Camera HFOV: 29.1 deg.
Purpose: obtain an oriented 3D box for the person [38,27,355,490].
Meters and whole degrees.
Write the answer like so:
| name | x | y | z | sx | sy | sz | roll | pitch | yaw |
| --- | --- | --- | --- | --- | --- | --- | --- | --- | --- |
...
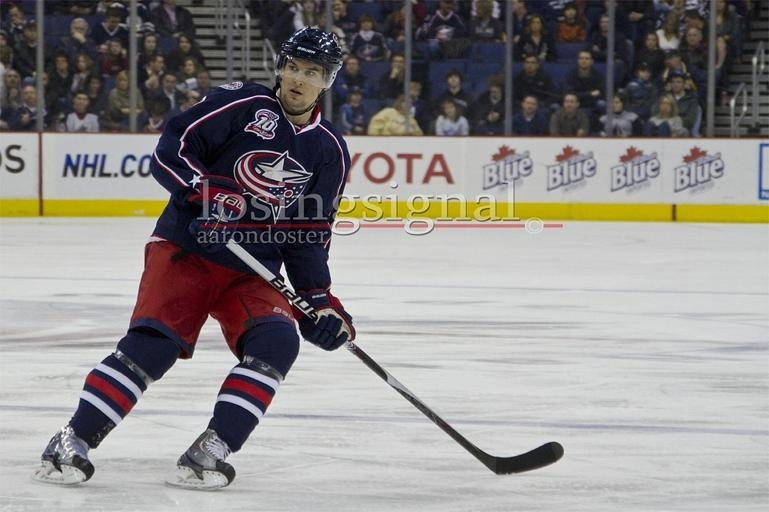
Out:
| name | x | y | z | sx | sy | sz | roll | pitch | yaw |
| --- | --- | --- | --- | --- | --- | --- | --- | --- | --- |
| person | -0.990 | 0.011 | 8.732 | 1.645 | 2.652 | 0.747 | -1 | 12 | -12 |

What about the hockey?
| name | x | y | z | sx | sy | sz | roll | pitch | yaw |
| --- | --- | --- | --- | --- | --- | --- | --- | --- | --- |
| hockey | 0.396 | 0.802 | 8.032 | 0.311 | 0.320 | 2.454 | 20 | -11 | 31 |

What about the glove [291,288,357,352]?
| name | x | y | z | sx | sy | sz | roll | pitch | yaw |
| --- | --- | --- | --- | --- | --- | --- | --- | --- | --- |
| glove | -0.364 | 0.383 | 8.965 | 0.321 | 0.384 | 0.171 | -6 | -32 | -27 |

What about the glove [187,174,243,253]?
| name | x | y | z | sx | sy | sz | roll | pitch | yaw |
| --- | --- | --- | --- | --- | --- | --- | --- | --- | --- |
| glove | -0.988 | -0.228 | 8.802 | 0.385 | 0.428 | 0.196 | 17 | -4 | 13 |

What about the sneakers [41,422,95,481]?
| name | x | y | z | sx | sy | sz | roll | pitch | yaw |
| --- | --- | --- | --- | --- | --- | --- | --- | --- | --- |
| sneakers | -1.898 | 1.191 | 8.704 | 0.185 | 0.214 | 0.471 | 12 | -4 | -34 |

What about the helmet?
| name | x | y | z | sx | sy | sz | roll | pitch | yaw |
| --- | --- | --- | --- | --- | --- | --- | --- | --- | --- |
| helmet | -0.444 | -1.192 | 9.048 | 0.392 | 0.395 | 0.430 | 20 | 9 | 5 |
